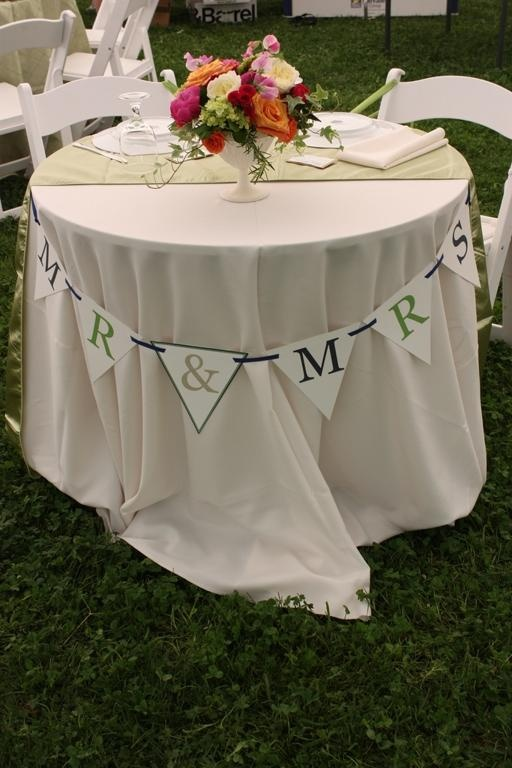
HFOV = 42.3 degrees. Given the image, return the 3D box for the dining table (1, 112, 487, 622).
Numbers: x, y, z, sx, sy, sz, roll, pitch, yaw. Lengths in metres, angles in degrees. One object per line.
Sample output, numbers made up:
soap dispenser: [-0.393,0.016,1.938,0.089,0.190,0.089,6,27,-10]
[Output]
dining table: [0.221,-0.178,2.049,1.337,1.087,1.612,-8,33,-15]

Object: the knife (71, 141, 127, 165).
knife: [-0.434,-0.642,1.850,0.240,0.029,0.033,24,50,35]

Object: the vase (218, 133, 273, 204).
vase: [-0.001,-0.481,1.474,0.120,0.139,0.117,-15,34,-21]

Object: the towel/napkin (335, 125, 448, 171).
towel/napkin: [0.356,-0.621,1.762,0.245,0.087,0.200,-18,34,-30]
